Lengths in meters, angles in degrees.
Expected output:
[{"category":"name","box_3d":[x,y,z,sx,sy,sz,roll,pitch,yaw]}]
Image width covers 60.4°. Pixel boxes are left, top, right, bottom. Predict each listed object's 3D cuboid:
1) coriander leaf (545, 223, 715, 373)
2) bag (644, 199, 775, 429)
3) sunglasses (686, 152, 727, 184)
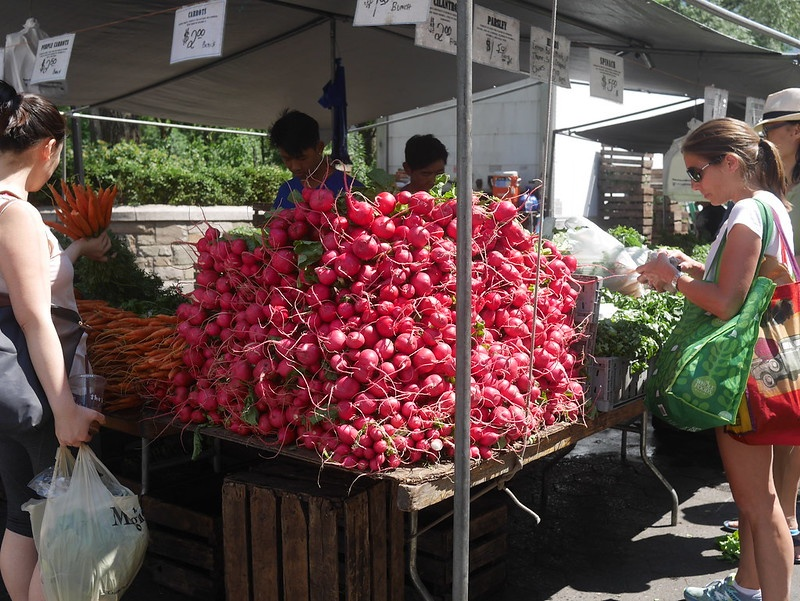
[{"category":"coriander leaf","box_3d":[1.297,-0.049,3.674,0.823,0.839,0.260,11,-1,36]},{"category":"bag","box_3d":[1.284,0.079,2.857,0.457,0.982,0.334,6,11,28]},{"category":"sunglasses","box_3d":[1.317,-0.566,2.931,0.110,0.036,0.106,-30,-4,-10]}]
